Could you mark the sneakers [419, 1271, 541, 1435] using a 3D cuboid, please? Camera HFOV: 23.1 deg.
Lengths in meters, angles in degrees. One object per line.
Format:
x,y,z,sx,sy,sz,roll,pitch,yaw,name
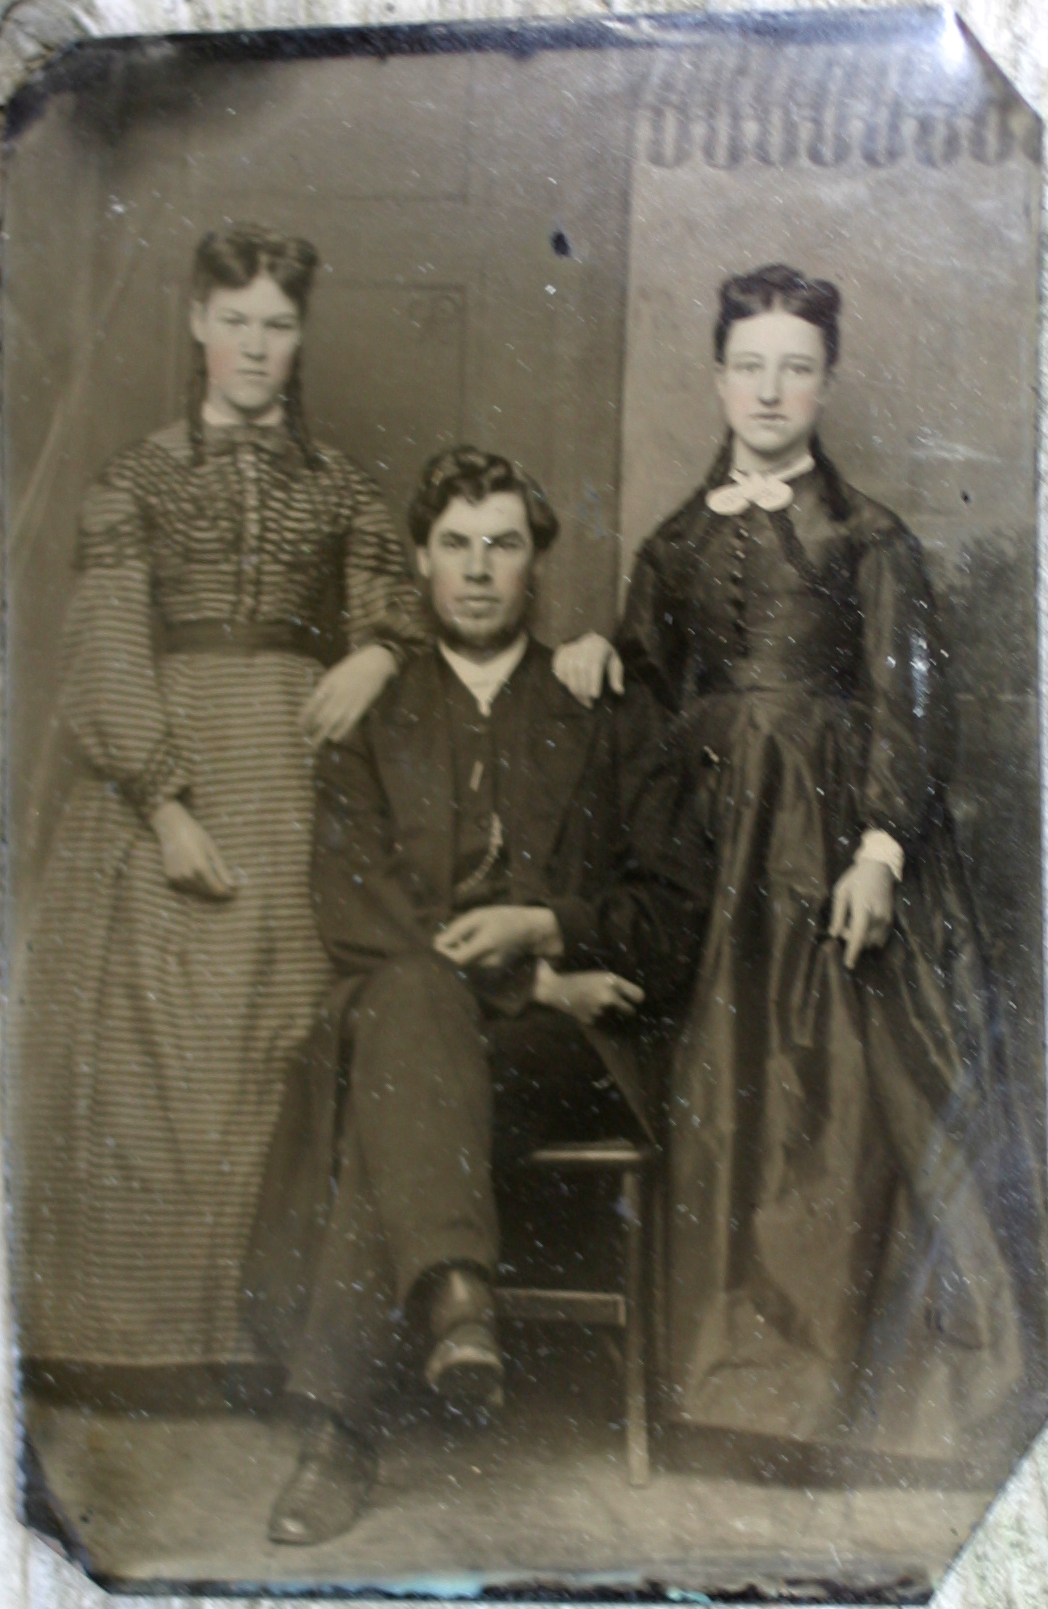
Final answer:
-0.086,0.732,3.430,0.107,0.198,0.079,-4,-5,5,sneakers
